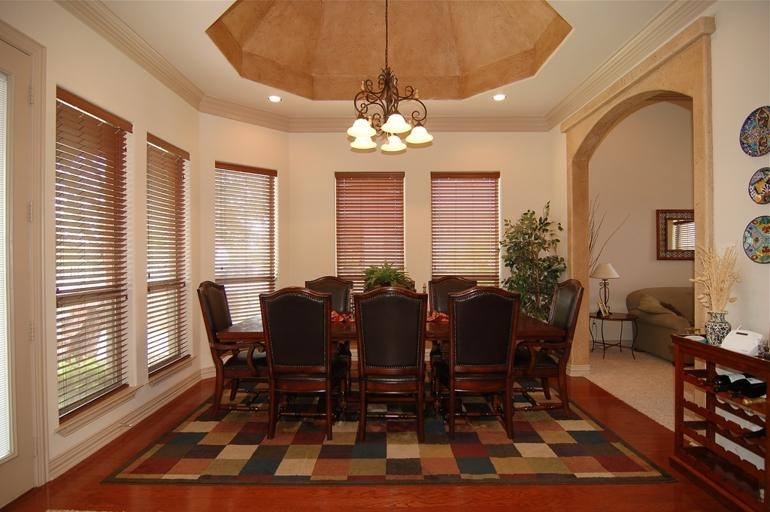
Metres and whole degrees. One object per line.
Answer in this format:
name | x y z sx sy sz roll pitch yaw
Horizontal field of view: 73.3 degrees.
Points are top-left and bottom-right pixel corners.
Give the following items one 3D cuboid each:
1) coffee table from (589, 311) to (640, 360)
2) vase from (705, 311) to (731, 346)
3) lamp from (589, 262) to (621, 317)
coffee table | 3.296 1.031 7.401 0.509 0.350 0.506 -6 -16 40
vase | 2.753 0.594 4.234 0.205 0.244 0.193 0 3 -17
lamp | 3.293 0.480 7.707 0.349 0.761 1.197 0 1 24
